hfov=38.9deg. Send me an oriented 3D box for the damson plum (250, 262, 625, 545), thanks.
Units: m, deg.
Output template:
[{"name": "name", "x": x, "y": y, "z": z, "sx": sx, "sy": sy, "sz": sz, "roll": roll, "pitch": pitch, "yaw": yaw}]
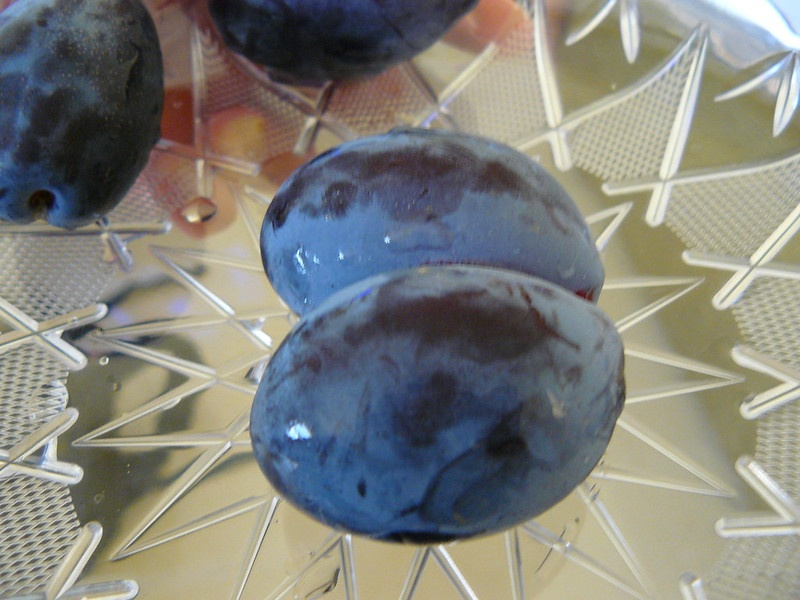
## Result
[{"name": "damson plum", "x": 0.031, "y": 0.080, "z": 0.878, "sx": 0.282, "sy": 0.071, "sz": 0.202, "roll": 0, "pitch": 77, "yaw": 7}]
